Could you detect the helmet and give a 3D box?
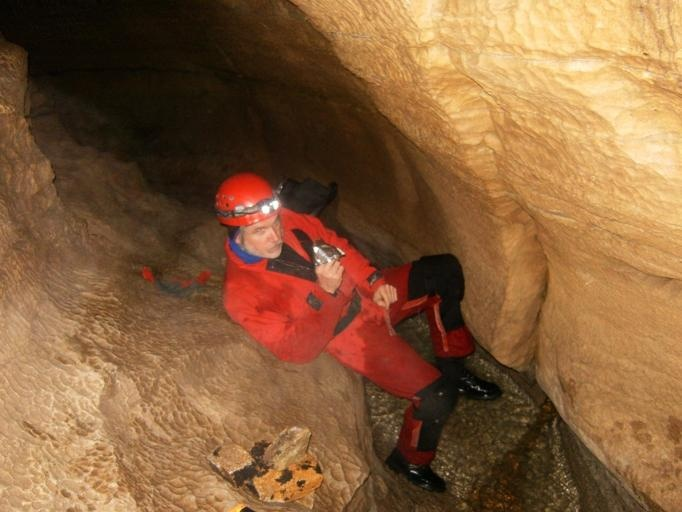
[{"bbox_3d":[-0.537,-0.327,3.733,0.333,0.226,0.297,15,58,24],"label":"helmet"}]
